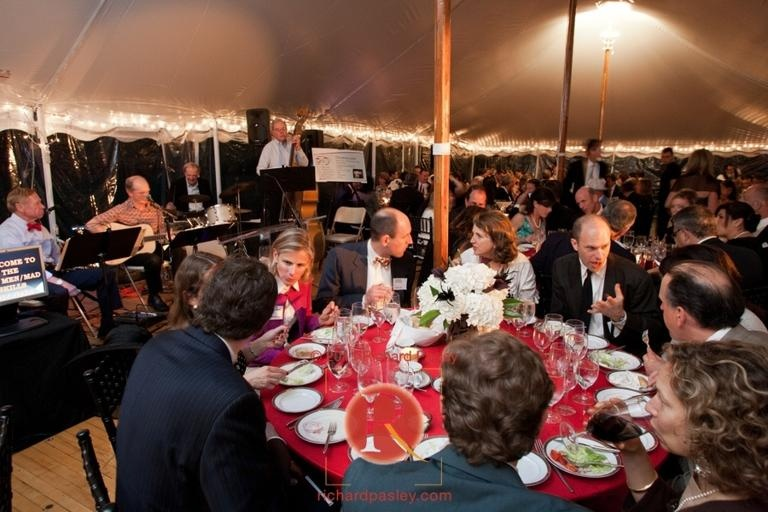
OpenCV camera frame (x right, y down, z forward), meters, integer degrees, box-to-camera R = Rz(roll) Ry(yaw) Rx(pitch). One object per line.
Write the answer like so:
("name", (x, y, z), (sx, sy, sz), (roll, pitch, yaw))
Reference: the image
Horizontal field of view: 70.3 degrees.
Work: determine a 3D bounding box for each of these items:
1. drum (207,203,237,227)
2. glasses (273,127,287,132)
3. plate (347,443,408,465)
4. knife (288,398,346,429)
("drum", (-2.407, -0.610, 8.082), (0.366, 0.236, 0.381), (-2, 7, 0))
("glasses", (-1.680, -1.997, 8.631), (0.101, 0.051, 0.130), (-9, 9, -33))
("plate", (-0.076, 1.200, 3.261), (0.202, 0.031, 0.213), (2, 2, 10))
("knife", (-0.448, 1.012, 3.567), (0.488, 0.031, 0.125), (-20, 34, -37))
